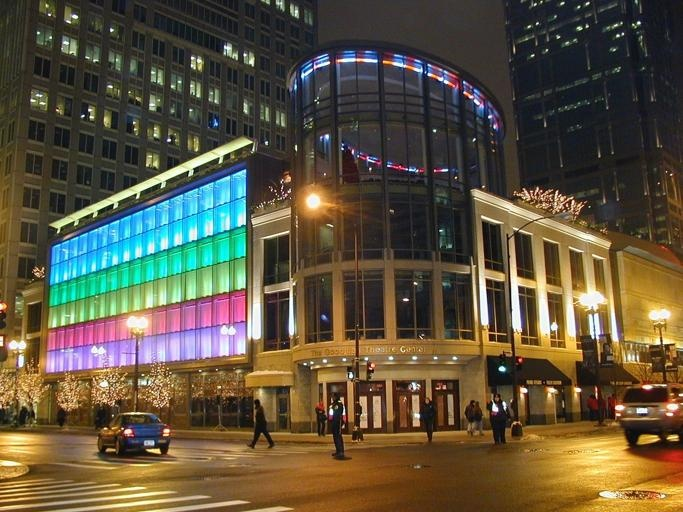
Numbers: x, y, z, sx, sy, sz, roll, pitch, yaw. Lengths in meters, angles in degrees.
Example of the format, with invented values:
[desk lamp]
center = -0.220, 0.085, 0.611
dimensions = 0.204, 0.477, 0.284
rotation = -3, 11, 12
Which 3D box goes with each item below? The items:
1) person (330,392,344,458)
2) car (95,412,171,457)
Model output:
[person]
center = -0.250, 7.024, 28.626
dimensions = 0.802, 2.500, 0.749
rotation = 5, -10, -43
[car]
center = -9.722, 8.402, 32.434
dimensions = 3.169, 1.966, 1.787
rotation = -2, -16, -5
